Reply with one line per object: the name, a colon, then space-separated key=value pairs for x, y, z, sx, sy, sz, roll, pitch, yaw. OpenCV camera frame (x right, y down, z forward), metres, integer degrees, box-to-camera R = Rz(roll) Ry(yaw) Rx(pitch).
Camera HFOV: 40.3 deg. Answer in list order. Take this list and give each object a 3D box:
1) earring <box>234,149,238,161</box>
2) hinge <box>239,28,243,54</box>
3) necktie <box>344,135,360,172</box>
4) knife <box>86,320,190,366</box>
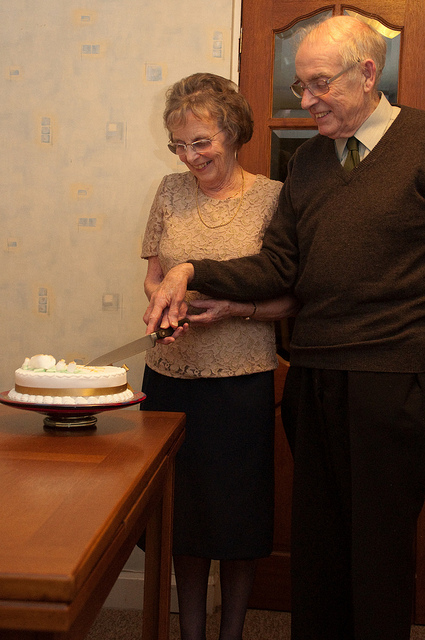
earring: x=0.064 y=-0.453 z=1.589 sx=0.005 sy=0.019 sz=0.018 roll=2 pitch=1 yaw=5
hinge: x=0.094 y=-0.936 z=1.934 sx=0.007 sy=0.061 sz=0.022 roll=2 pitch=1 yaw=19
necktie: x=0.304 y=-0.362 z=1.264 sx=0.032 sy=0.064 sz=0.021 roll=2 pitch=1 yaw=23
knife: x=-0.202 y=0.057 z=1.584 sx=0.352 sy=0.048 sz=0.025 roll=-20 pitch=-27 yaw=8
